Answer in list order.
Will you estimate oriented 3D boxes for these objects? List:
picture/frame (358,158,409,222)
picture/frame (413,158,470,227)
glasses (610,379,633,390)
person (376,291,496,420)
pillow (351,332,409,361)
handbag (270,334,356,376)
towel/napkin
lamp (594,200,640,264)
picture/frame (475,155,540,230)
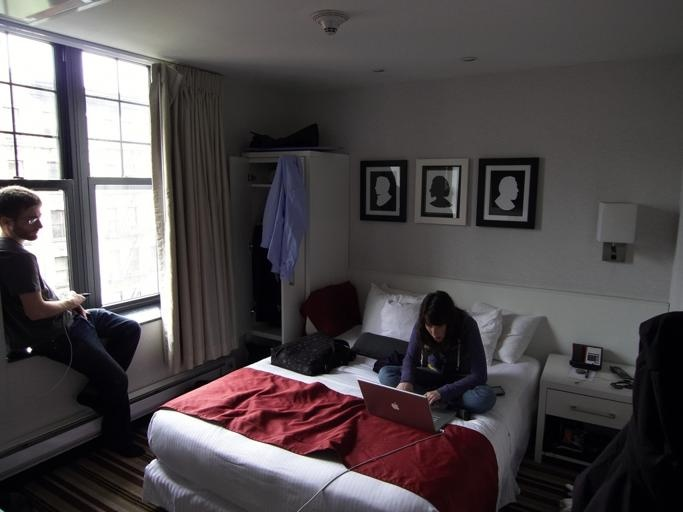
[{"bbox_3d":[0.411,-0.623,4.556,0.539,0.728,0.051,3,6,30],"label":"picture/frame"},{"bbox_3d":[0.892,-0.567,4.306,0.540,0.707,0.050,5,8,35],"label":"picture/frame"},{"bbox_3d":[1.914,0.871,3.375,0.148,0.040,0.122,-4,9,-33],"label":"glasses"},{"bbox_3d":[0.678,0.627,3.334,0.729,0.763,0.844,-2,3,-40],"label":"person"},{"bbox_3d":[0.305,0.707,3.909,0.328,0.083,0.197,6,23,29],"label":"pillow"},{"bbox_3d":[-0.248,0.741,3.744,0.334,0.110,0.341,3,7,37],"label":"handbag"},{"bbox_3d":[-0.479,-0.318,4.199,0.392,1.070,0.187,-1,8,-8],"label":"towel/napkin"},{"bbox_3d":[2.012,-0.164,3.603,0.243,0.456,0.322,5,9,31],"label":"lamp"},{"bbox_3d":[1.380,-0.531,4.037,0.553,0.747,0.047,4,8,33],"label":"picture/frame"}]
